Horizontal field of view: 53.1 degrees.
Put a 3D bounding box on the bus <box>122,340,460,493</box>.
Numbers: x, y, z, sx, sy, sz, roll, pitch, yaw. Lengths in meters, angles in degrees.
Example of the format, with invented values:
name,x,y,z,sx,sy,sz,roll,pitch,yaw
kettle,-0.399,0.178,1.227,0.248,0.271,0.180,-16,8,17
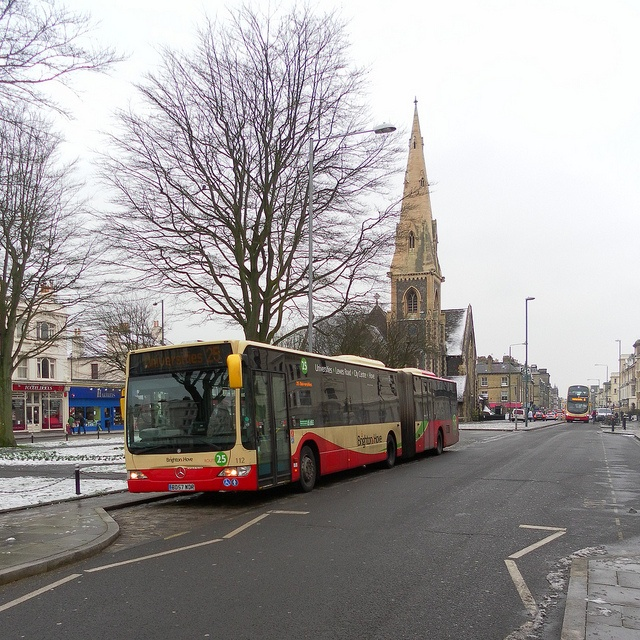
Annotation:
name,x,y,z,sx,sy,sz,roll,pitch,yaw
bus,0.330,2.294,17.334,2.718,3.155,13.184,-4,-8,25

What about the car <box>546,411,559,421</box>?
name,x,y,z,sx,sy,sz,roll,pitch,yaw
car,39.556,16.103,108.798,1.137,1.175,2.961,-3,3,23

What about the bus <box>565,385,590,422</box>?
name,x,y,z,sx,sy,sz,roll,pitch,yaw
bus,33.758,10.926,83.587,2.766,4.599,4.378,-2,-6,24

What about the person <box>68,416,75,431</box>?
name,x,y,z,sx,sy,sz,roll,pitch,yaw
person,-17.778,7.259,45.467,0.347,0.950,1.769,2,-7,-22
